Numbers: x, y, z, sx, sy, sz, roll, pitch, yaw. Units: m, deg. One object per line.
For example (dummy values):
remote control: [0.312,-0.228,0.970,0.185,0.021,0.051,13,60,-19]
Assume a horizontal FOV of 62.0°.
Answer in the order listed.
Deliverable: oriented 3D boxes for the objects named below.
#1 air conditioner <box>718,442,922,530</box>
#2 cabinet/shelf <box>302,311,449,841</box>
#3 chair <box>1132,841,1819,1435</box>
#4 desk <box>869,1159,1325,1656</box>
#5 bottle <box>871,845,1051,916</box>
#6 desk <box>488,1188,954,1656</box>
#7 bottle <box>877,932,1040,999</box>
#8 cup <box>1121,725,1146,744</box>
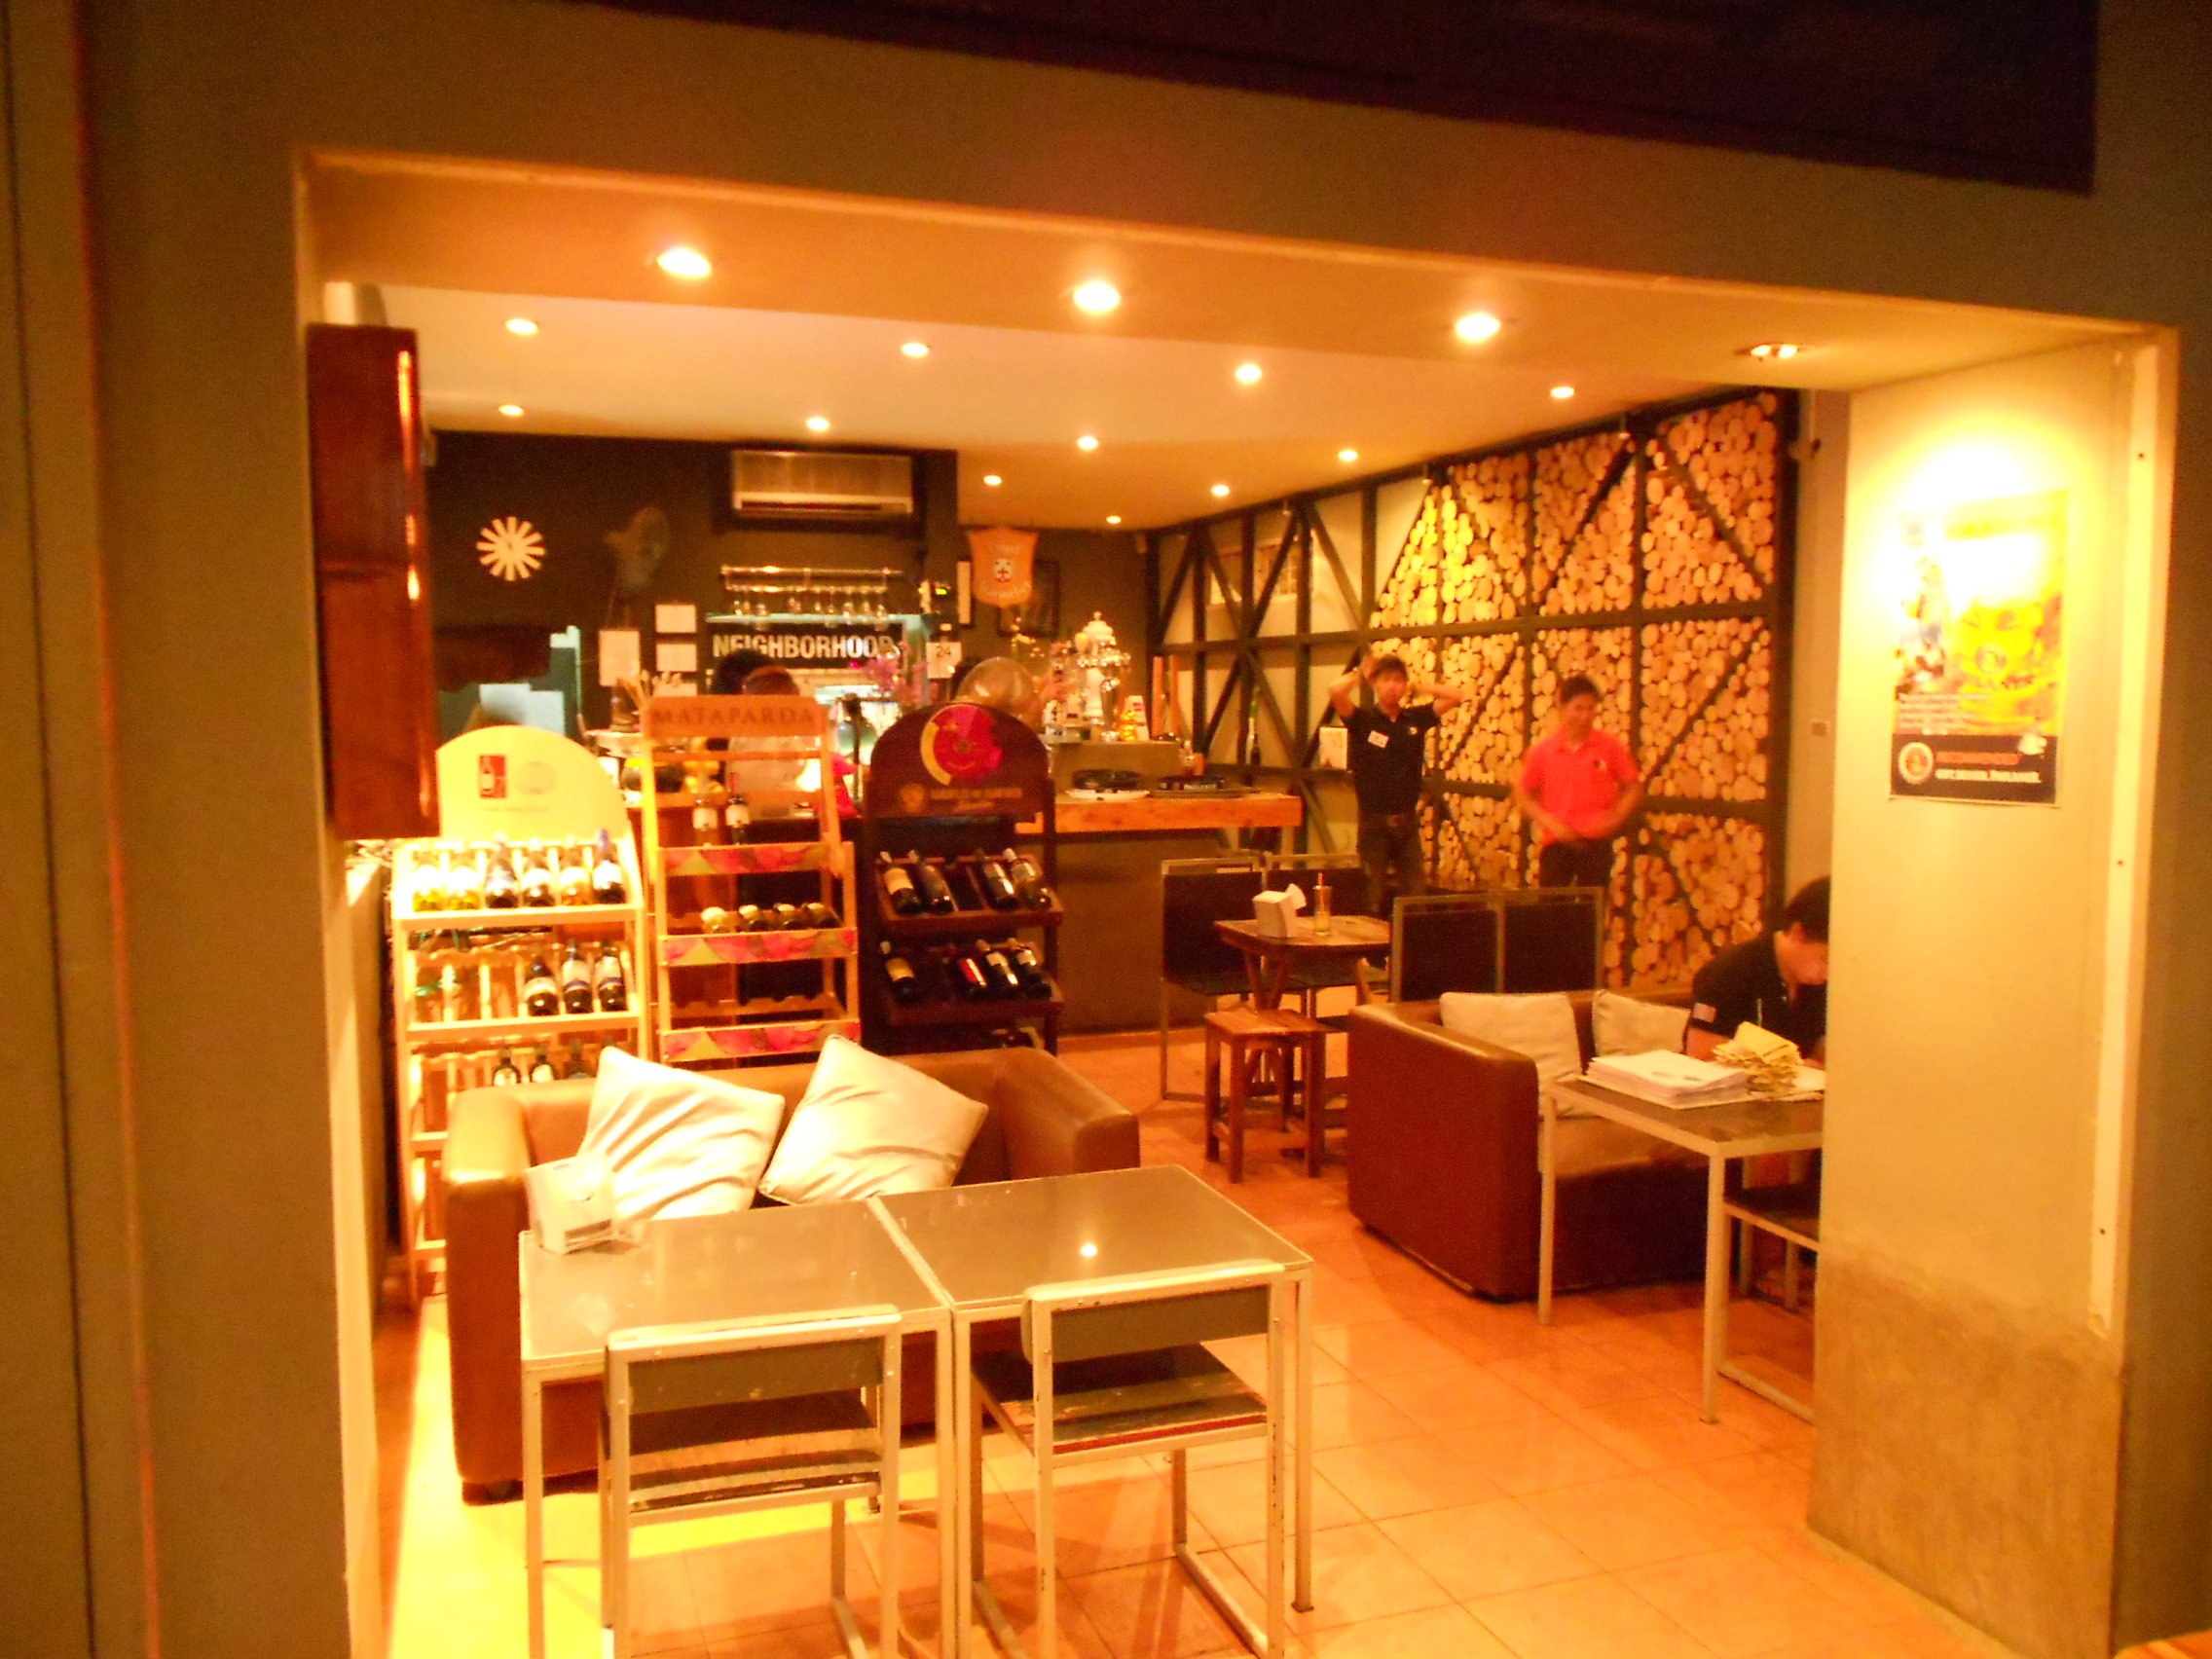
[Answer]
air conditioner: [-1.644,-2.014,10.715,1.166,0.388,0.409,-1,9,-9]
cabinet/shelf: [-1.208,-0.403,3.027,0.152,0.825,0.166,-1,12,-4]
chair: [1.477,1.000,5.600,0.828,0.839,1.699,-6,13,-25]
desk: [-0.056,1.141,4.147,0.843,0.858,0.919,-2,11,-11]
bottle: [-0.500,0.172,6.382,0.602,0.151,0.435,-4,13,-19]
desk: [-0.795,1.070,3.946,0.826,0.842,0.900,-1,13,-10]
bottle: [-0.484,0.462,6.286,0.566,0.142,0.352,-2,12,-8]
cup: [0.192,-0.642,12.232,0.120,0.075,0.120,0,-1,0]
